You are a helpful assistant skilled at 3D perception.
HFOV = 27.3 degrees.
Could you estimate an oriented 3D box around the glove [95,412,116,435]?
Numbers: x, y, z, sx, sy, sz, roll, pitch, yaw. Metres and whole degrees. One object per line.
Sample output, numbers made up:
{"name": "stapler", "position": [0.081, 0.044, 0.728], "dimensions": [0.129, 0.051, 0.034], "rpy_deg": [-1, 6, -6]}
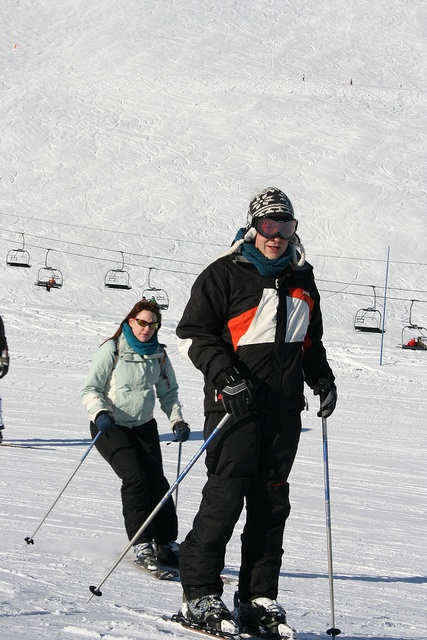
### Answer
{"name": "glove", "position": [-0.640, 0.589, 5.164], "dimensions": [0.111, 0.115, 0.132], "rpy_deg": [7, -11, -11]}

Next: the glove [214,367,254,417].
{"name": "glove", "position": [0.089, 0.311, 3.813], "dimensions": [0.179, 0.195, 0.097], "rpy_deg": [-20, 3, -43]}

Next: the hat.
{"name": "hat", "position": [0.284, -0.498, 4.138], "dimensions": [0.256, 0.235, 0.300], "rpy_deg": [3, -2, -11]}

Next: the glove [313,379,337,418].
{"name": "glove", "position": [0.550, 0.378, 4.254], "dimensions": [0.081, 0.155, 0.141], "rpy_deg": [11, 3, 7]}

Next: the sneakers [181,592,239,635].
{"name": "sneakers", "position": [-0.022, 1.285, 3.829], "dimensions": [0.251, 0.163, 0.165], "rpy_deg": [-12, 3, 7]}
